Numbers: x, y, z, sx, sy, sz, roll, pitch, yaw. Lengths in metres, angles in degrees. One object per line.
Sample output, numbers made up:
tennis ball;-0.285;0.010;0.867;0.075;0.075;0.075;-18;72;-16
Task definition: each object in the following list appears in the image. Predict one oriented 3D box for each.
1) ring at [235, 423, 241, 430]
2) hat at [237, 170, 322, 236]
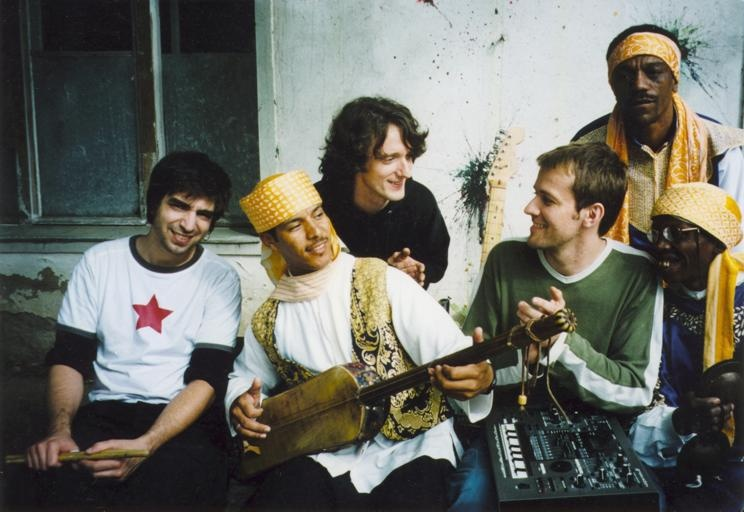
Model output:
ring;-0.940;1.198;5.822;0.038;0.039;0.010;-39;-15;31
hat;-0.705;-0.421;6.060;0.552;0.333;0.548;-25;5;31
